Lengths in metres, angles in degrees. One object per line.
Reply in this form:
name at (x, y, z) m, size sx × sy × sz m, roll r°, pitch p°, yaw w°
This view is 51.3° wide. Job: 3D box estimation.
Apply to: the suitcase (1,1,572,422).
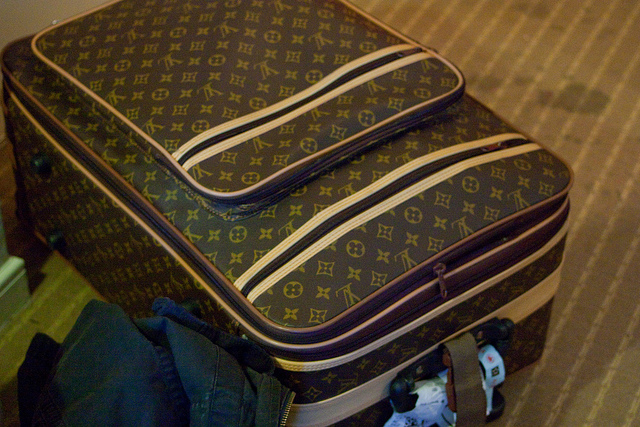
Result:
suitcase at (-0.153, 0.073, 1.855) m, size 0.949 × 0.627 × 1.263 m, roll -32°, pitch 63°, yaw -33°
